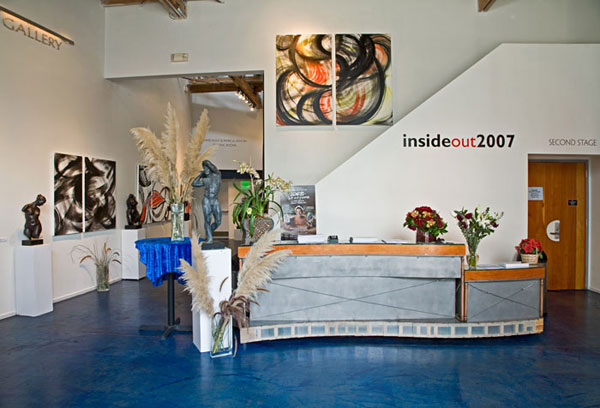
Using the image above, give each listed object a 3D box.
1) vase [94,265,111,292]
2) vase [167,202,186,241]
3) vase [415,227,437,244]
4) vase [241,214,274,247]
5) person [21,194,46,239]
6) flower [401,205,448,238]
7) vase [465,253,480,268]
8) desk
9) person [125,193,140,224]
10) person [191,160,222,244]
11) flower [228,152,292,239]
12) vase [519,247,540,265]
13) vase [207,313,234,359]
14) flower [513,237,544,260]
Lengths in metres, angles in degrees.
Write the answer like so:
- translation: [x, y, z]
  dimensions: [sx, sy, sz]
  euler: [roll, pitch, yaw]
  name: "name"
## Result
- translation: [-4.224, 1.529, 9.505]
  dimensions: [0.365, 0.619, 0.379]
  euler: [-4, -4, -2]
  name: "vase"
- translation: [-1.941, 0.278, 7.076]
  dimensions: [0.219, 0.561, 0.278]
  euler: [-4, 13, -17]
  name: "vase"
- translation: [2.019, 0.502, 7.201]
  dimensions: [0.236, 0.184, 0.250]
  euler: [0, -3, 28]
  name: "vase"
- translation: [-0.690, 0.386, 7.141]
  dimensions: [0.418, 0.368, 0.420]
  euler: [0, -1, 5]
  name: "vase"
- translation: [-4.704, 0.231, 7.904]
  dimensions: [0.375, 0.752, 0.317]
  euler: [-13, 18, -43]
  name: "person"
- translation: [2.050, 0.342, 7.456]
  dimensions: [0.691, 0.640, 0.700]
  euler: [3, 0, -6]
  name: "flower"
- translation: [2.809, 0.901, 7.278]
  dimensions: [0.198, 0.242, 0.199]
  euler: [-2, 2, -25]
  name: "vase"
- translation: [-2.028, 1.334, 7.494]
  dimensions: [1.258, 1.516, 1.357]
  euler: [0, -2, 5]
  name: "desk"
- translation: [-3.921, 0.150, 10.423]
  dimensions: [0.283, 0.740, 0.488]
  euler: [-4, 13, -15]
  name: "person"
- translation: [-1.429, -0.021, 6.912]
  dimensions: [0.425, 1.318, 0.952]
  euler: [-3, 13, -13]
  name: "person"
- translation: [-0.639, -0.008, 7.398]
  dimensions: [0.980, 1.335, 0.874]
  euler: [1, -1, 6]
  name: "flower"
- translation: [3.941, 0.876, 7.637]
  dimensions: [0.266, 0.378, 0.319]
  euler: [0, -8, 0]
  name: "vase"
- translation: [-1.147, 1.906, 6.569]
  dimensions: [0.391, 0.579, 0.391]
  euler: [7, -15, -26]
  name: "vase"
- translation: [3.992, 0.761, 7.837]
  dimensions: [0.395, 0.374, 0.402]
  euler: [2, -1, -31]
  name: "flower"
